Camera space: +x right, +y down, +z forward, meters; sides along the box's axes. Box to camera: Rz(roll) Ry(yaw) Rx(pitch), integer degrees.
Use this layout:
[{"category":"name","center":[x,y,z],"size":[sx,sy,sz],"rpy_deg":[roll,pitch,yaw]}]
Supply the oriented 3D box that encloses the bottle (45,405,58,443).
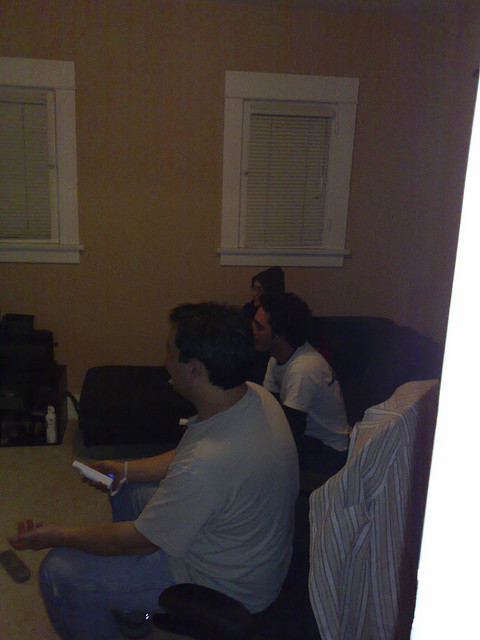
[{"category":"bottle","center":[-0.767,0.421,2.555],"size":[0.050,0.151,0.066],"rpy_deg":[-2,11,-19]}]

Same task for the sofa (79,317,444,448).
[{"category":"sofa","center":[0.001,0.135,2.806],"size":[1.567,0.475,1.002],"rpy_deg":[4,15,-13]}]

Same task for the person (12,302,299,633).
[{"category":"person","center":[-0.238,0.379,1.616],"size":[0.435,1.005,0.427],"rpy_deg":[6,15,14]}]

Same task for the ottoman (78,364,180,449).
[{"category":"ottoman","center":[-0.449,0.372,2.576],"size":[0.399,0.290,0.315],"rpy_deg":[2,12,-8]}]
